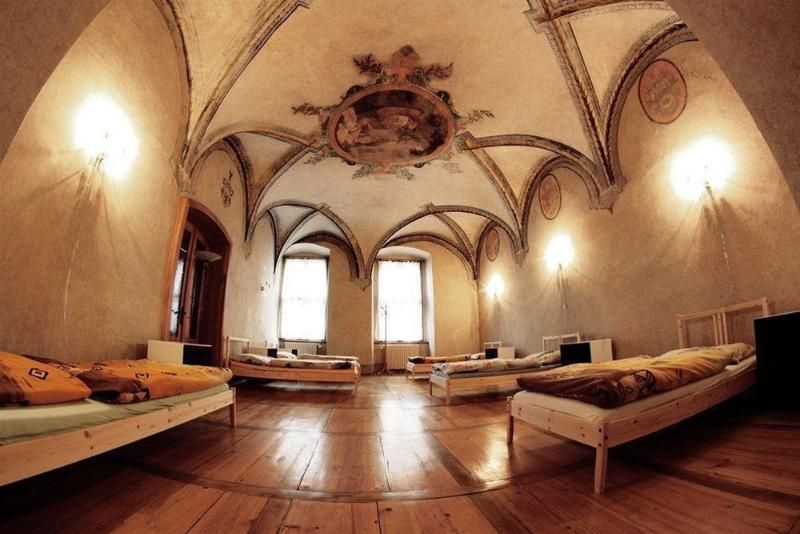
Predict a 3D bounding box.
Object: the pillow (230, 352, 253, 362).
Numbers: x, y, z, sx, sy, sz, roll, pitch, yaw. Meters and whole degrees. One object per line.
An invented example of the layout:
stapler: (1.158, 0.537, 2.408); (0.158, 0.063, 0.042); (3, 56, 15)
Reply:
pillow: (-2.911, 1.662, 8.859); (0.370, 0.124, 0.366); (-3, 4, -12)

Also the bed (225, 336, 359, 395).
bed: (-2.003, 1.844, 9.044); (2.085, 0.770, 1.291); (1, -9, -8)

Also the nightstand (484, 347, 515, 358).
nightstand: (2.285, 1.956, 11.011); (0.316, 0.266, 0.516); (8, -11, -38)

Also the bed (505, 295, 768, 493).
bed: (2.787, 1.127, 5.462); (3.368, 1.373, 1.347); (-5, 5, -31)
